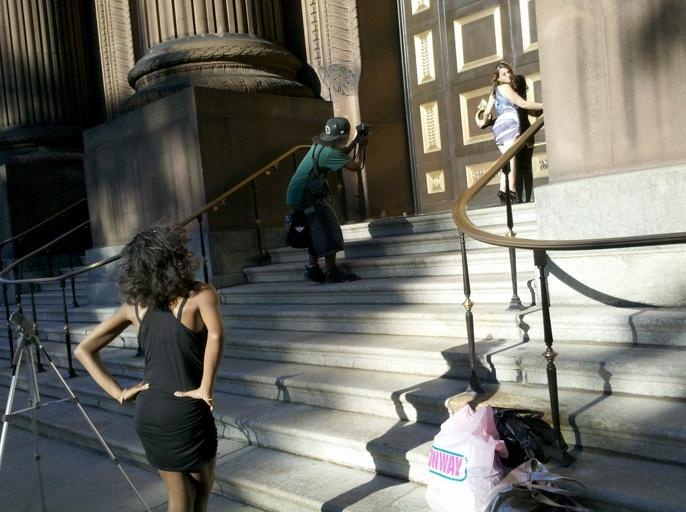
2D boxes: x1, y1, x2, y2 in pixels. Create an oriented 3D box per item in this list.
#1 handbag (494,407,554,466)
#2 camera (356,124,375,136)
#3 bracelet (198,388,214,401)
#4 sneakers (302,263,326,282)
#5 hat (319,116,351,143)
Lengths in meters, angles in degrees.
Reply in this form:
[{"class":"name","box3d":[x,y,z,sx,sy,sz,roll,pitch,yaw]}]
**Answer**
[{"class":"handbag","box3d":[1.160,1.126,3.999,0.405,0.154,0.395,-3,9,-13]},{"class":"camera","box3d":[0.249,-1.468,7.218,0.132,0.069,0.174,-4,9,-36]},{"class":"bracelet","box3d":[-0.816,0.817,3.725,0.111,0.069,0.041,19,14,30]},{"class":"sneakers","box3d":[-0.358,0.196,7.458,0.277,0.240,0.168,10,14,35]},{"class":"hat","box3d":[-0.057,-1.484,7.236,0.273,0.137,0.391,7,28,34]}]
